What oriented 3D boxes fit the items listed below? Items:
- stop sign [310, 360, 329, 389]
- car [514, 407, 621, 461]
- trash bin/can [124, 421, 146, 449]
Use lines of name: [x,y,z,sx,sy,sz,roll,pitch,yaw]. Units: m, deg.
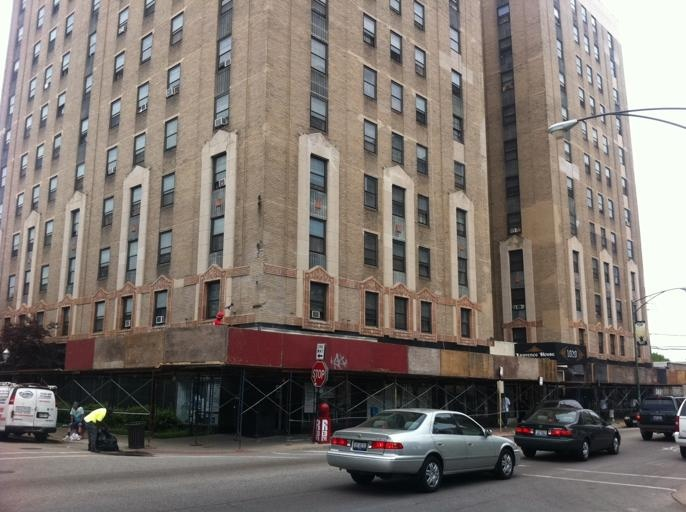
stop sign: [-1.050,5.386,29.709,0.611,1.171,0.864,-4,-17,6]
car: [8.735,6.819,24.630,2.159,1.843,5.357,-8,-12,43]
trash bin/can: [-9.023,7.792,28.222,1.034,1.169,1.110,-1,-10,12]
